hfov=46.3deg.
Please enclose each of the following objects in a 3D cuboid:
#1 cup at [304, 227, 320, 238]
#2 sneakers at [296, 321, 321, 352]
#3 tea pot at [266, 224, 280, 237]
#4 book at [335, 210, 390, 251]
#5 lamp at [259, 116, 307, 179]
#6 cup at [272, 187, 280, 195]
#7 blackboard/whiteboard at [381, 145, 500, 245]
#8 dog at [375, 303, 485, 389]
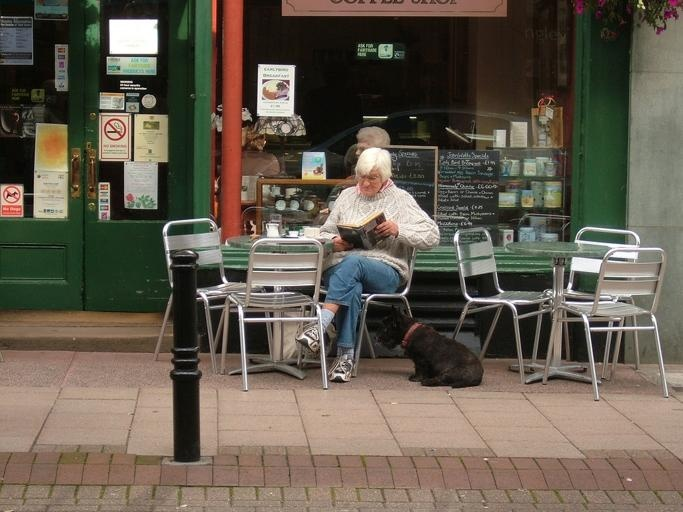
[{"bbox_3d":[-0.250,-0.196,6.731,0.110,0.063,0.107,2,2,0],"label":"cup"},{"bbox_3d":[-0.263,0.667,6.349,0.188,0.257,0.220,0,10,-14],"label":"sneakers"},{"bbox_3d":[-0.560,-0.215,6.589,0.095,0.114,0.082,2,10,0],"label":"tea pot"},{"bbox_3d":[0.120,-0.259,6.503,0.375,0.101,0.393,-19,10,-25],"label":"book"},{"bbox_3d":[-0.569,-1.076,7.714,0.503,0.580,0.171,1,10,-7],"label":"lamp"},{"bbox_3d":[-0.616,-0.627,7.640,0.089,0.081,0.057,1,-1,13],"label":"cup"},{"bbox_3d":[0.898,-0.574,7.486,1.050,0.737,0.052,0,3,0],"label":"blackboard/whiteboard"},{"bbox_3d":[0.770,0.790,6.615,0.902,0.530,0.425,10,10,29],"label":"dog"}]
